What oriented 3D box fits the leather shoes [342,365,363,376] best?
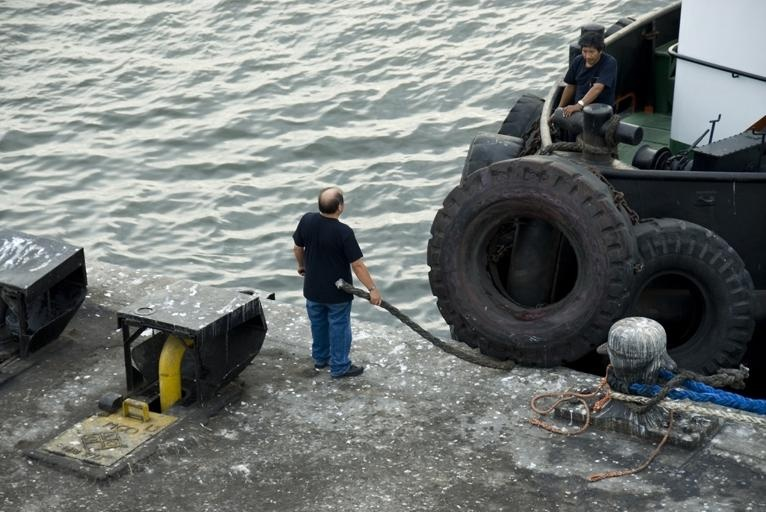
[{"bbox_3d":[-0.304,1.187,8.569,0.196,0.076,0.090,-12,17,-14],"label":"leather shoes"}]

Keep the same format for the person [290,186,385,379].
[{"bbox_3d":[-0.503,0.278,8.473,0.486,1.870,0.954,-16,32,-38],"label":"person"}]
